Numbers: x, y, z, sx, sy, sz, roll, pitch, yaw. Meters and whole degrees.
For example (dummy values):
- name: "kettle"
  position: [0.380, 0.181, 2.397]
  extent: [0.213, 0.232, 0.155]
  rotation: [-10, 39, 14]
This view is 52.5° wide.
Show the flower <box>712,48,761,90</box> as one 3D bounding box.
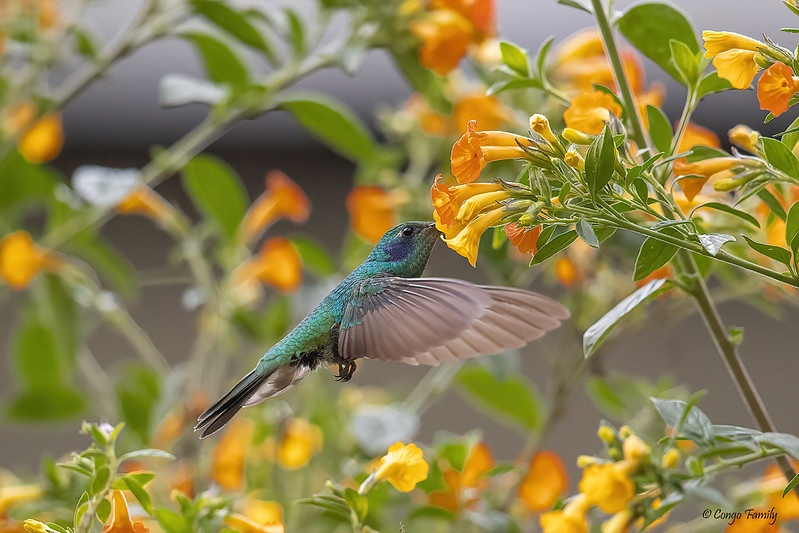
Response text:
- name: "flower"
  position: [0.811, -0.479, 1.957]
  extent: [0.095, 0.096, 0.052]
  rotation: [25, 3, 23]

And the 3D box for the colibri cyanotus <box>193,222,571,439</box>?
- name: "colibri cyanotus"
  position: [-0.053, 0.166, 2.263]
  extent: [0.896, 0.359, 0.664]
  rotation: [-18, -13, 8]

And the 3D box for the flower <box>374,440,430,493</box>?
- name: "flower"
  position: [0.007, 0.509, 2.076]
  extent: [0.130, 0.121, 0.078]
  rotation: [12, -9, -6]
